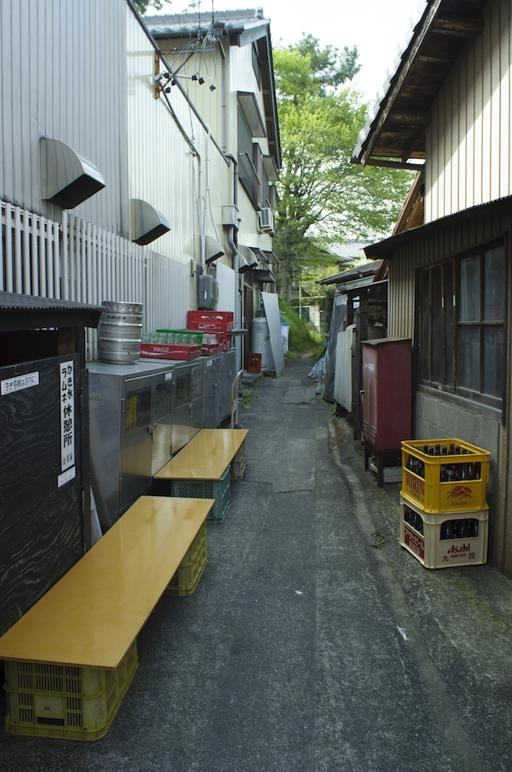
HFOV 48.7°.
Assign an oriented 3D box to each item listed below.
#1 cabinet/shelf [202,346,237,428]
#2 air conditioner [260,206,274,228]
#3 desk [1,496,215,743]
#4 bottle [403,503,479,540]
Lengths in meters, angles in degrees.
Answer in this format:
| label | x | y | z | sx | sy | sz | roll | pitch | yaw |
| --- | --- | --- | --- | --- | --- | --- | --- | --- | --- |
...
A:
| label | x | y | z | sx | sy | sz | roll | pitch | yaw |
| --- | --- | --- | --- | --- | --- | --- | --- | --- | --- |
| cabinet/shelf | -0.503 | 0.020 | 7.761 | 0.523 | 0.749 | 0.958 | 4 | 14 | 18 |
| air conditioner | 0.396 | -6.173 | 20.719 | 0.323 | 0.880 | 1.311 | 0 | 7 | 7 |
| desk | -0.675 | 1.143 | 2.818 | 0.556 | 0.510 | 1.627 | 1 | 4 | 6 |
| bottle | 1.325 | 1.005 | 4.130 | 0.574 | 0.176 | 0.245 | 4 | 5 | 37 |
